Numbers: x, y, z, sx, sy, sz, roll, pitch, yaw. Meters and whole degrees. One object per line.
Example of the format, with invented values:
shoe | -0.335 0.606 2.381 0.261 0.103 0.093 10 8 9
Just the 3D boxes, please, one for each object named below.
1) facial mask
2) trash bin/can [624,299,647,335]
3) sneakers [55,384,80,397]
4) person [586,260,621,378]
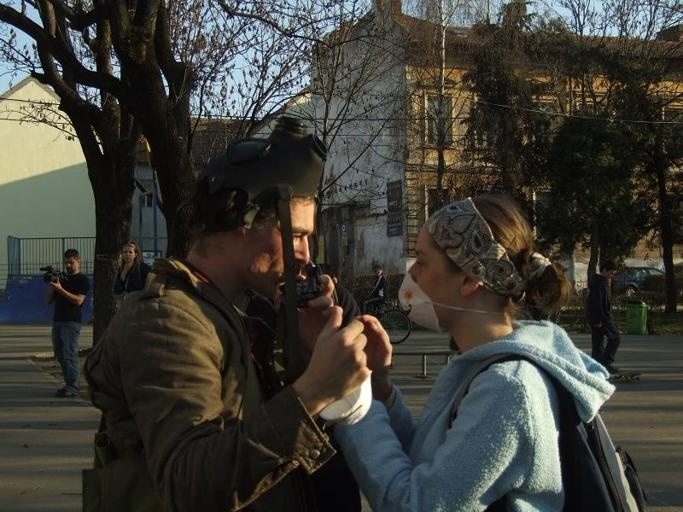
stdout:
facial mask | 0.883 0.498 10.884 0.532 0.461 0.599 2 0 4
trash bin/can | 8.317 1.704 28.356 0.530 0.962 0.556 2 0 22
sneakers | -4.788 2.344 17.589 0.381 0.212 0.185 3 2 10
person | 5.224 1.264 20.323 1.086 2.645 0.828 0 0 31
